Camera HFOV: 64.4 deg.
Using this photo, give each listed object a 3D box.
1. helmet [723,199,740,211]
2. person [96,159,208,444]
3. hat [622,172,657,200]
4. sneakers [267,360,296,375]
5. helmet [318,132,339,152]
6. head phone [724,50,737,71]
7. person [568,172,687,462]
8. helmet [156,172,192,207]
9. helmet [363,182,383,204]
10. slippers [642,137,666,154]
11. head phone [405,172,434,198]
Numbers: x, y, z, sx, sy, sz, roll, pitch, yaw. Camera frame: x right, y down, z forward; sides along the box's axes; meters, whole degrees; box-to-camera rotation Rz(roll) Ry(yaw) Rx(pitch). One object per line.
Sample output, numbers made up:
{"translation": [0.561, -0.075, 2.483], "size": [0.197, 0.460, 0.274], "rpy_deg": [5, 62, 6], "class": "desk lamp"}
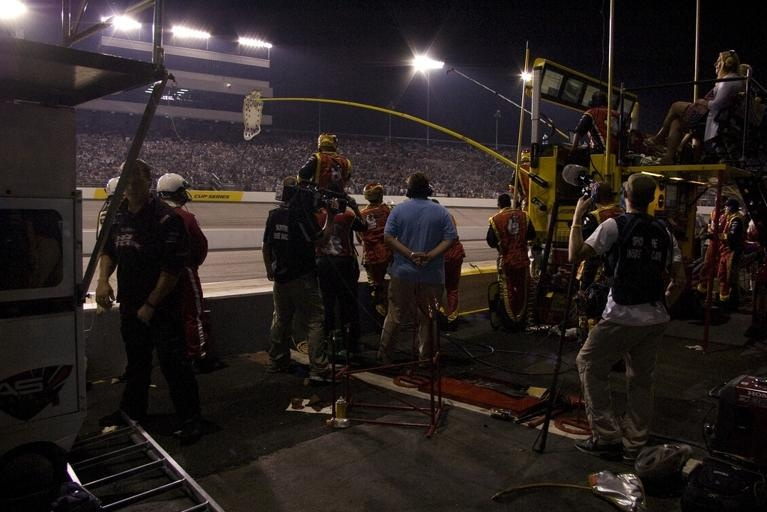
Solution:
{"translation": [7.046, -1.015, 12.311], "size": [0.248, 0.307, 0.307], "rpy_deg": [11, -7, -41], "class": "helmet"}
{"translation": [-2.457, 0.436, 6.480], "size": [1.232, 2.836, 0.497], "rpy_deg": [6, 14, 25], "class": "person"}
{"translation": [2.632, -0.718, 6.282], "size": [0.265, 0.204, 0.352], "rpy_deg": [8, 28, 14], "class": "hat"}
{"translation": [-1.381, 1.478, 8.214], "size": [0.370, 0.169, 0.155], "rpy_deg": [7, -3, -16], "class": "sneakers"}
{"translation": [-0.845, -1.660, 8.913], "size": [0.277, 0.321, 0.322], "rpy_deg": [4, 17, 1], "class": "helmet"}
{"translation": [5.267, -2.961, 9.263], "size": [0.173, 0.273, 0.319], "rpy_deg": [10, 16, 36], "class": "head phone"}
{"translation": [2.378, 0.576, 6.256], "size": [1.012, 2.773, 0.899], "rpy_deg": [4, 13, 16], "class": "person"}
{"translation": [-2.762, -0.875, 7.950], "size": [0.380, 0.456, 0.466], "rpy_deg": [21, 19, 29], "class": "helmet"}
{"translation": [-0.194, -1.018, 9.730], "size": [0.269, 0.330, 0.350], "rpy_deg": [2, 17, 10], "class": "helmet"}
{"translation": [4.822, -1.952, 10.812], "size": [0.269, 0.291, 0.757], "rpy_deg": [-1, -3, 36], "class": "slippers"}
{"translation": [0.470, -0.947, 8.086], "size": [0.285, 0.348, 0.335], "rpy_deg": [-1, 4, -3], "class": "head phone"}
